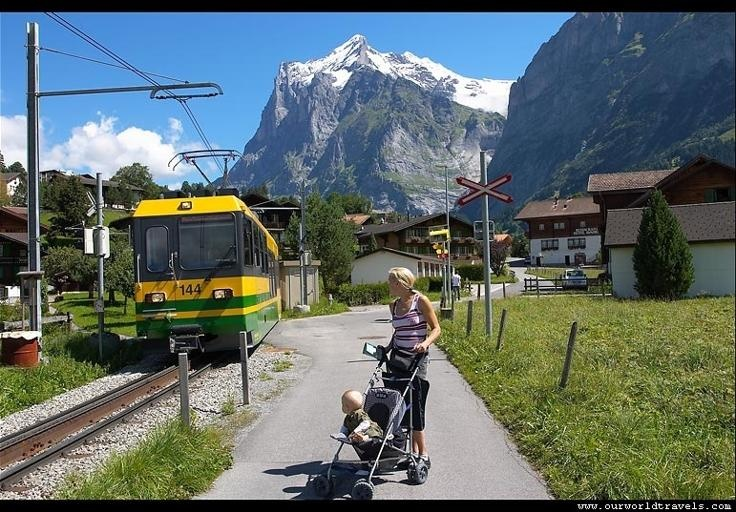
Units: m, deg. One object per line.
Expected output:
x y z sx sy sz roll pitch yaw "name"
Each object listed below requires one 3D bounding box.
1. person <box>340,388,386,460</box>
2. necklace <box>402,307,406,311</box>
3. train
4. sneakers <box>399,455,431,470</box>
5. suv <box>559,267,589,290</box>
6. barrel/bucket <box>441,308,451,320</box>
-0.189 2.484 9.317 0.638 1.041 0.681 -9 -19 35 "person"
0.532 0.787 9.549 0.048 0.055 0.016 -4 5 -4 "necklace"
-4.232 0.395 17.185 3.840 4.145 2.495 -2 -3 -32 "train"
0.691 2.984 9.332 0.380 0.154 0.264 3 -10 -9 "sneakers"
15.853 1.832 49.125 1.400 1.332 3.277 -2 -7 10 "suv"
3.023 2.240 24.684 0.406 0.368 0.359 -1 -7 14 "barrel/bucket"
